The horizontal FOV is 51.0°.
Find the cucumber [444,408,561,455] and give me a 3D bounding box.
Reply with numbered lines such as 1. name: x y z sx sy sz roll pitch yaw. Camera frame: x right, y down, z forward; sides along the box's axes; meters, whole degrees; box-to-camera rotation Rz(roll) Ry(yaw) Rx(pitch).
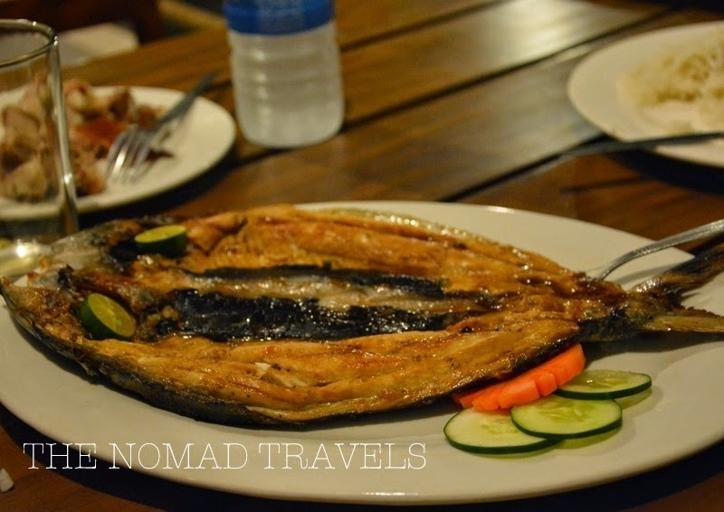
1. cucumber: 0.264 0.338 1.469 0.222 0.025 0.170 -2 12 -23

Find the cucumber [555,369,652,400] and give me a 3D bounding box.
1. cucumber: 0.481 0.256 1.516 0.112 0.012 0.079 -1 14 28

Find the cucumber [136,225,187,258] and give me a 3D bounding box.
1. cucumber: -0.479 -0.037 1.828 0.089 0.055 0.092 11 31 36
